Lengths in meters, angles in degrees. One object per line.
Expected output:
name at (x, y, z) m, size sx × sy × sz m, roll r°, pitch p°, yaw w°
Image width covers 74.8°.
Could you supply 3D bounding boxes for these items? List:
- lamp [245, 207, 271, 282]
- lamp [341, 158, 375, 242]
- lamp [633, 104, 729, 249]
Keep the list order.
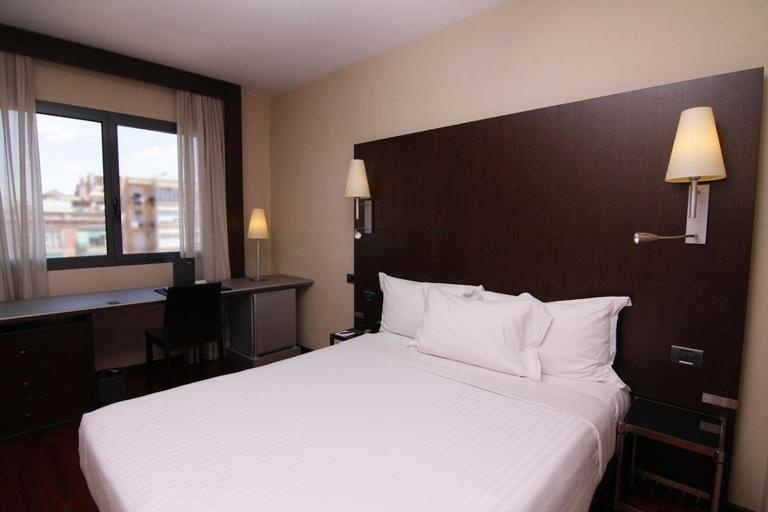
lamp at (-1.332, -0.136, 5.347) m, size 0.199 × 0.740 × 0.582 m, roll -3°, pitch 5°, yaw -15°
lamp at (-0.215, -0.510, 4.523) m, size 0.232 × 0.720 × 0.447 m, roll -2°, pitch 5°, yaw -2°
lamp at (1.862, -0.489, 3.144) m, size 0.483 × 0.844 × 0.248 m, roll 1°, pitch 6°, yaw 29°
